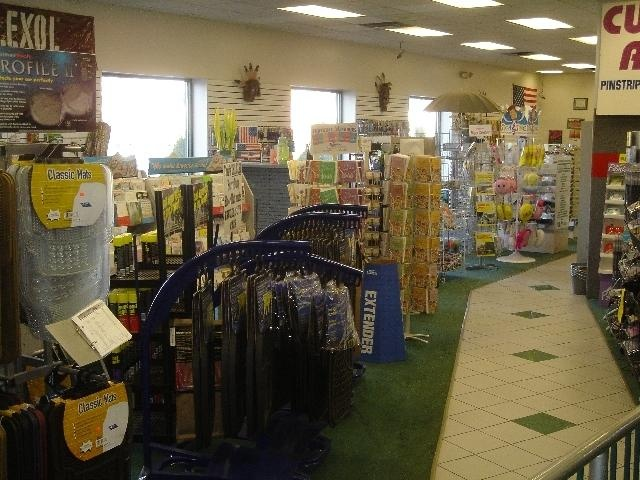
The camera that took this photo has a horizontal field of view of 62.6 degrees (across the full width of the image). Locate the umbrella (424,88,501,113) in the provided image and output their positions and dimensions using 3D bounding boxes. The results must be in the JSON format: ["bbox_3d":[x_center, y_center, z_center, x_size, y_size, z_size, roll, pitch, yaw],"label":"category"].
[{"bbox_3d":[2.935,-2.747,10.691,1.320,0.447,0.872,-1,10,-13],"label":"umbrella"}]

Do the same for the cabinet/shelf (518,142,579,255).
[{"bbox_3d":[4.756,-0.823,11.404,1.125,1.833,1.079,6,7,29],"label":"cabinet/shelf"}]

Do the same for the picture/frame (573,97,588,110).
[{"bbox_3d":[9.379,-4.837,18.885,0.510,0.397,0.063,7,10,29],"label":"picture/frame"}]

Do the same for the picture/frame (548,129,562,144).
[{"bbox_3d":[8.749,-3.801,19.505,0.555,0.614,0.081,0,-2,14],"label":"picture/frame"}]

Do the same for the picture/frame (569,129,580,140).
[{"bbox_3d":[9.266,-3.770,19.254,0.316,0.431,0.452,1,1,-2],"label":"picture/frame"}]

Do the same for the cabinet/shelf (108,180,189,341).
[{"bbox_3d":[-1.100,0.108,3.903,0.517,0.888,0.488,-1,7,39],"label":"cabinet/shelf"}]

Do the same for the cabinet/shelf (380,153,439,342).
[{"bbox_3d":[1.115,0.013,6.457,0.724,2.047,0.435,1,9,3],"label":"cabinet/shelf"}]

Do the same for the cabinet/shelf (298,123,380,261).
[{"bbox_3d":[0.193,-0.998,6.748,0.810,1.084,0.629,-12,-8,39],"label":"cabinet/shelf"}]

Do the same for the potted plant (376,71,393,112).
[{"bbox_3d":[1.580,-3.671,13.250,0.191,0.968,0.499,9,12,43],"label":"potted plant"}]

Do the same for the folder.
[{"bbox_3d":[-1.073,0.445,2.494,0.282,0.211,0.074,-40,7,-8],"label":"folder"}]
